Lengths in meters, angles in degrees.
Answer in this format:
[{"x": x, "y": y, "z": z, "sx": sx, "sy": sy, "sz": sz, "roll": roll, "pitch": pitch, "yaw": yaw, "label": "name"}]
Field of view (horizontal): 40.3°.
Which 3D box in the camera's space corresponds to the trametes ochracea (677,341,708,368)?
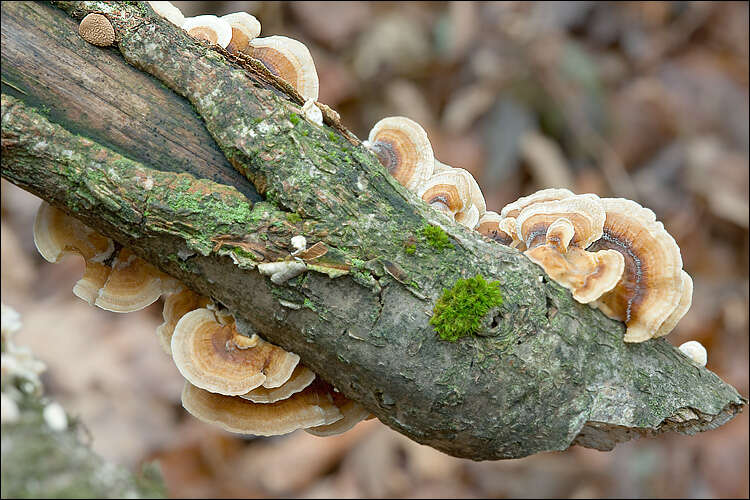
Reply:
[{"x": 2.109, "y": 0.688, "z": 6.802, "sx": 0.187, "sy": 0.142, "sz": 0.273, "roll": 6, "pitch": 15, "yaw": 16, "label": "trametes ochracea"}]
